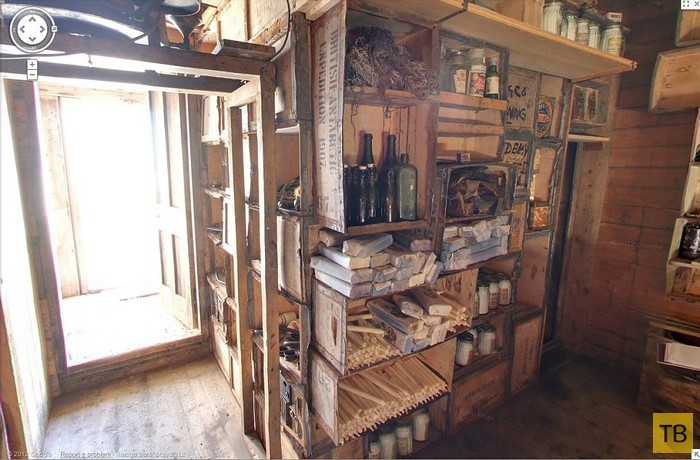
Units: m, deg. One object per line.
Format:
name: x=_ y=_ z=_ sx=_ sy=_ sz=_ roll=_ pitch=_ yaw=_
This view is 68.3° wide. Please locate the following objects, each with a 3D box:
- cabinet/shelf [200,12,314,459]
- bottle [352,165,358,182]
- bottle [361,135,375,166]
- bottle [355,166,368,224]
cabinet/shelf: x=-0.791 y=0.082 z=4.644 sx=0.879 sy=3.688 sz=1.759 roll=-7 pitch=16 yaw=-19
bottle: x=0.034 y=-0.440 z=4.138 sx=0.052 sy=0.109 sz=0.016 roll=-3 pitch=15 yaw=-3
bottle: x=0.138 y=-0.658 z=4.220 sx=0.110 sy=0.255 sz=0.303 roll=-2 pitch=15 yaw=2
bottle: x=0.099 y=-0.276 z=4.161 sx=0.091 sy=0.407 sz=0.106 roll=-2 pitch=15 yaw=2
